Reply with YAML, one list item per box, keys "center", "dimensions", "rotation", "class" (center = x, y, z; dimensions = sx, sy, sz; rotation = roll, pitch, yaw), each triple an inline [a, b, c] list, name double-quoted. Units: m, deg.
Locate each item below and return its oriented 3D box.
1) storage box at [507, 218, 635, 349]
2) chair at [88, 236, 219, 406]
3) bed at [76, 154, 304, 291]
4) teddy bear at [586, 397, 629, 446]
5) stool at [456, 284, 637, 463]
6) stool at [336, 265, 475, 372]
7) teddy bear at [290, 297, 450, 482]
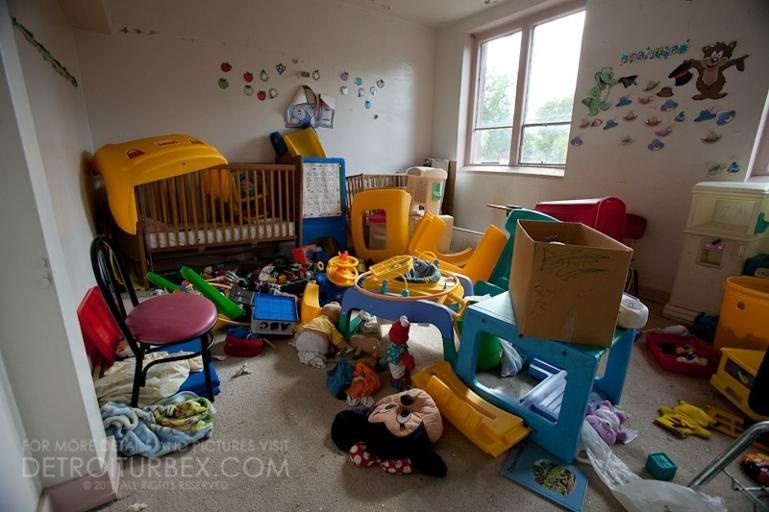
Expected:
- center: [1.040, 0.121, 2.919]
  dimensions: [0.546, 0.570, 0.750]
  rotation: [4, 15, -3]
  class: "storage box"
- center: [-1.323, 0.354, 2.829]
  dimensions: [0.642, 1.053, 0.516]
  rotation: [-10, 30, -38]
  class: "chair"
- center: [-1.690, -0.289, 4.555]
  dimensions: [1.529, 0.987, 0.946]
  rotation: [-9, 9, -44]
  class: "bed"
- center: [1.317, 0.986, 2.848]
  dimensions: [0.230, 0.150, 0.265]
  rotation: [7, 17, 27]
  class: "teddy bear"
- center: [1.013, 0.650, 3.038]
  dimensions: [0.850, 0.707, 0.862]
  rotation: [18, 27, 39]
  class: "stool"
- center: [0.242, 0.396, 3.603]
  dimensions: [1.039, 0.450, 1.036]
  rotation: [6, 13, 24]
  class: "stool"
- center: [0.048, 0.732, 2.594]
  dimensions: [0.850, 0.337, 0.845]
  rotation: [11, 28, -36]
  class: "teddy bear"
